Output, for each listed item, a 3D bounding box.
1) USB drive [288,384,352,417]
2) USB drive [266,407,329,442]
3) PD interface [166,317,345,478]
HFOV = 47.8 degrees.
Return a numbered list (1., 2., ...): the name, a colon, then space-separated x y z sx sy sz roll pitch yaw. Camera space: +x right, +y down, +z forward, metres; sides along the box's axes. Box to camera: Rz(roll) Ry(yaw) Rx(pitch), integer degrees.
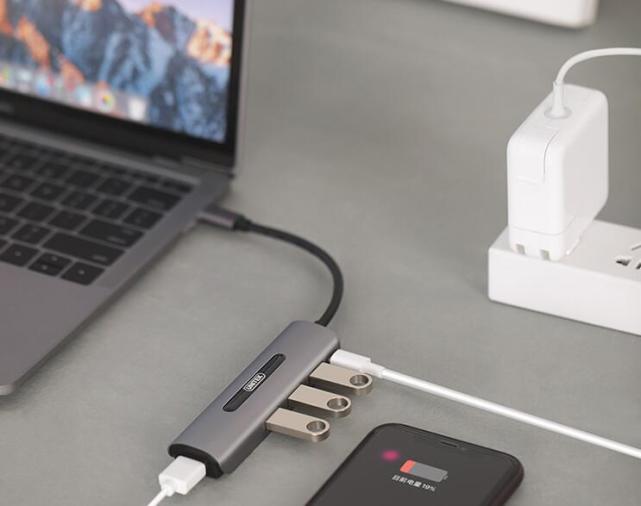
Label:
1. USB drive: 0.000 0.115 0.570 0.049 0.007 0.020 12 30 22
2. USB drive: -0.017 0.132 0.555 0.061 0.010 0.022 10 30 16
3. PD interface: -0.046 0.113 0.579 0.045 0.047 0.157 26 40 25
